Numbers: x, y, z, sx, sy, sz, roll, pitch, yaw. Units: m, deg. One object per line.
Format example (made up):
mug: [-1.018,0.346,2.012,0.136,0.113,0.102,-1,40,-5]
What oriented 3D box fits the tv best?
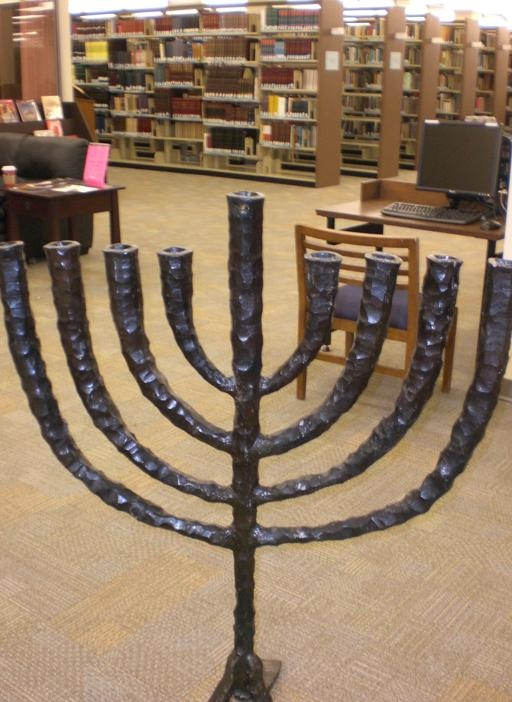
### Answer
tv: [1.157,-1.054,3.307,0.058,0.451,0.534,-12,29,-43]

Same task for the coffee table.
coffee table: [-1.541,-1.124,4.778,0.700,0.491,0.801,15,23,36]
